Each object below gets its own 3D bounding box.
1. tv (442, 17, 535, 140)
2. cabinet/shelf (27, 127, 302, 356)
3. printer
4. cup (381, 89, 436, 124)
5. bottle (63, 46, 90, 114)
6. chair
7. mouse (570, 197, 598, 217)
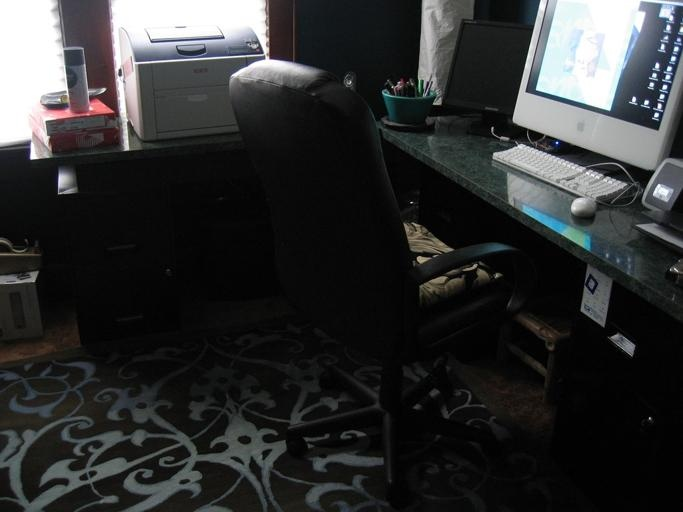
[{"bbox_3d":[0.661,-0.774,2.367,0.523,0.549,0.277,23,50,40],"label":"tv"},{"bbox_3d":[-1.019,-0.062,2.772,0.774,0.939,1.326,6,11,38],"label":"cabinet/shelf"},{"bbox_3d":[-0.683,-0.836,2.532,0.769,0.550,0.547,-13,37,-22],"label":"printer"},{"bbox_3d":[0.318,-0.701,2.416,0.184,0.089,0.180,1,29,0],"label":"cup"},{"bbox_3d":[-1.143,-0.759,2.284,0.109,0.246,0.227,-15,29,-22],"label":"bottle"},{"bbox_3d":[0.160,0.052,1.848,0.852,1.303,0.919,12,23,29],"label":"chair"},{"bbox_3d":[0.777,-0.154,1.703,0.078,0.057,0.057,5,28,15],"label":"mouse"}]
